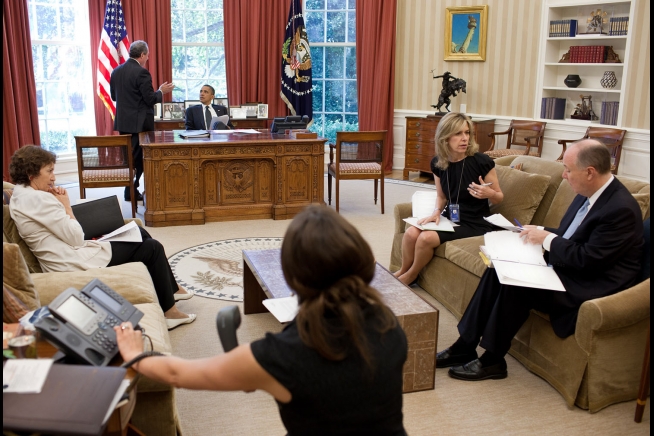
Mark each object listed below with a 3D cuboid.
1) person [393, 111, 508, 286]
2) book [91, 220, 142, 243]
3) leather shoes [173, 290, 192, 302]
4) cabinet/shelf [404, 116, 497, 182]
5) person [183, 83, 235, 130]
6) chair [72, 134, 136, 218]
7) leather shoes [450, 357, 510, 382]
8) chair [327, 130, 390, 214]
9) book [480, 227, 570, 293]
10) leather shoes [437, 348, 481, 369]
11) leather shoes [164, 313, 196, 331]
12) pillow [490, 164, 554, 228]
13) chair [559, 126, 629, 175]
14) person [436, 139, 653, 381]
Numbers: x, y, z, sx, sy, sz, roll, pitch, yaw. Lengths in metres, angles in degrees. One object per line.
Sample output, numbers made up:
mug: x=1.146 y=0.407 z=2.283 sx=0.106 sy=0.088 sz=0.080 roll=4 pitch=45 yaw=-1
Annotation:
person: x=1.106 y=-0.405 z=4.829 sx=1.330 sy=1.912 sz=1.082 roll=-6 pitch=13 yaw=-17
book: x=-1.521 y=0.109 z=3.581 sx=0.197 sy=0.080 sz=0.210 roll=6 pitch=28 yaw=44
leather shoes: x=-1.235 y=0.662 z=4.076 sx=0.176 sy=0.081 sz=0.066 roll=-9 pitch=12 yaw=-13
cabinet/shelf: x=2.016 y=-1.312 z=8.293 sx=1.231 sy=1.205 sz=0.887 roll=16 pitch=38 yaw=30
person: x=-1.782 y=-1.562 z=7.159 sx=0.607 sy=0.883 sz=0.483 roll=-3 pitch=-4 yaw=-12
chair: x=-2.919 y=-0.680 z=6.334 sx=0.715 sy=1.236 sz=0.827 roll=-6 pitch=32 yaw=-25
leather shoes: x=1.029 y=1.019 z=3.245 sx=0.363 sy=0.147 sz=0.156 roll=1 pitch=0 yaw=-3
chair: x=0.412 y=-0.711 z=6.760 sx=0.788 sy=1.109 sz=0.923 roll=-1 pitch=15 yaw=0
book: x=1.271 y=0.291 z=3.154 sx=0.272 sy=0.122 sz=0.560 roll=4 pitch=29 yaw=-14
leather shoes: x=0.917 y=0.957 z=3.361 sx=0.339 sy=0.136 sz=0.131 roll=-1 pitch=1 yaw=-13
leather shoes: x=-1.138 y=0.790 z=3.742 sx=0.243 sy=0.102 sz=0.089 roll=-16 pitch=20 yaw=-38
pillow: x=1.604 y=-0.198 z=3.949 sx=0.187 sy=0.420 sz=0.660 roll=15 pitch=12 yaw=-33
chair: x=3.696 y=-0.816 z=6.745 sx=0.657 sy=0.930 sz=0.653 roll=5 pitch=8 yaw=2
person: x=1.439 y=0.277 z=3.129 sx=1.167 sy=1.533 sz=0.580 roll=2 pitch=15 yaw=12
